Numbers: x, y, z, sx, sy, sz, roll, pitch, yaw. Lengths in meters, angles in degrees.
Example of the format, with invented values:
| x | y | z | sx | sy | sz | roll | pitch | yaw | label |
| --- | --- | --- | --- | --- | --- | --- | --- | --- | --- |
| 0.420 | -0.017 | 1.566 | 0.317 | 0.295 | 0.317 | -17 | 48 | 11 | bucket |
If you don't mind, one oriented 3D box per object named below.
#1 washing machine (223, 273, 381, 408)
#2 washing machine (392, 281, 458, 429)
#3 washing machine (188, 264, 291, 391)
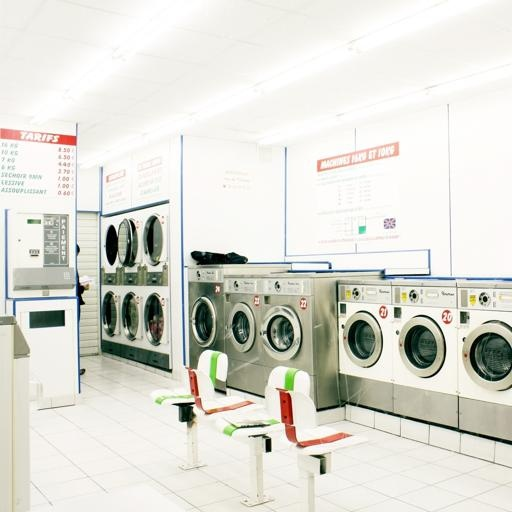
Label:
| x | y | z | sx | sy | sz | roll | pitch | yaw | label |
| --- | --- | --- | --- | --- | --- | --- | --- | --- | --- |
| 0.350 | 0.816 | 5.069 | 1.223 | 1.328 | 0.964 | -1 | -2 | 40 | washing machine |
| 1.476 | 0.761 | 3.877 | 0.591 | 1.181 | 0.578 | -1 | 10 | 26 | washing machine |
| -0.321 | 0.799 | 6.015 | 0.729 | 1.431 | 0.981 | 2 | 2 | 44 | washing machine |
